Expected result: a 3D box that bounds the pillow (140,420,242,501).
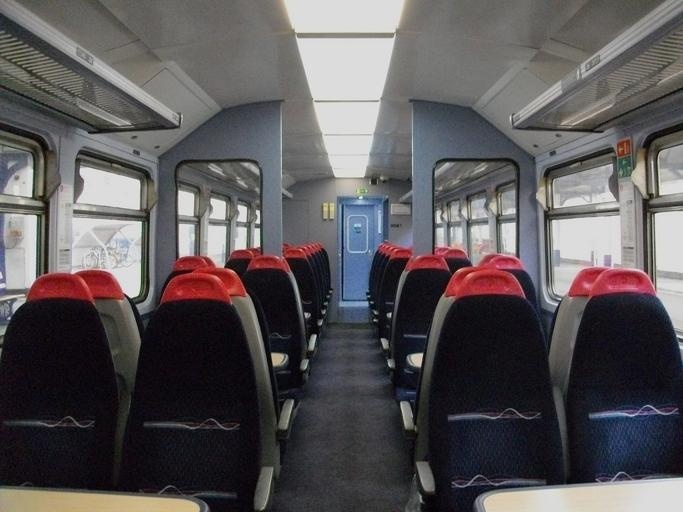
[{"bbox_3d":[-0.739,0.967,2.206,0.398,0.429,0.098,-1,1,-2],"label":"pillow"}]
